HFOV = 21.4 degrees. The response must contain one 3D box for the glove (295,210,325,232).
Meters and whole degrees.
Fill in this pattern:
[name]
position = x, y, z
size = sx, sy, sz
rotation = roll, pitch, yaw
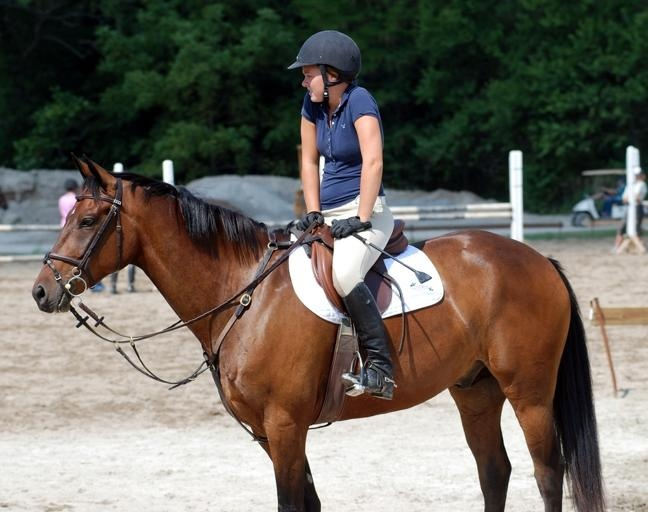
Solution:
[glove]
position = -0.361, -0.873, 43.793
size = 0.238, 0.579, 0.434
rotation = 49, 2, 34
